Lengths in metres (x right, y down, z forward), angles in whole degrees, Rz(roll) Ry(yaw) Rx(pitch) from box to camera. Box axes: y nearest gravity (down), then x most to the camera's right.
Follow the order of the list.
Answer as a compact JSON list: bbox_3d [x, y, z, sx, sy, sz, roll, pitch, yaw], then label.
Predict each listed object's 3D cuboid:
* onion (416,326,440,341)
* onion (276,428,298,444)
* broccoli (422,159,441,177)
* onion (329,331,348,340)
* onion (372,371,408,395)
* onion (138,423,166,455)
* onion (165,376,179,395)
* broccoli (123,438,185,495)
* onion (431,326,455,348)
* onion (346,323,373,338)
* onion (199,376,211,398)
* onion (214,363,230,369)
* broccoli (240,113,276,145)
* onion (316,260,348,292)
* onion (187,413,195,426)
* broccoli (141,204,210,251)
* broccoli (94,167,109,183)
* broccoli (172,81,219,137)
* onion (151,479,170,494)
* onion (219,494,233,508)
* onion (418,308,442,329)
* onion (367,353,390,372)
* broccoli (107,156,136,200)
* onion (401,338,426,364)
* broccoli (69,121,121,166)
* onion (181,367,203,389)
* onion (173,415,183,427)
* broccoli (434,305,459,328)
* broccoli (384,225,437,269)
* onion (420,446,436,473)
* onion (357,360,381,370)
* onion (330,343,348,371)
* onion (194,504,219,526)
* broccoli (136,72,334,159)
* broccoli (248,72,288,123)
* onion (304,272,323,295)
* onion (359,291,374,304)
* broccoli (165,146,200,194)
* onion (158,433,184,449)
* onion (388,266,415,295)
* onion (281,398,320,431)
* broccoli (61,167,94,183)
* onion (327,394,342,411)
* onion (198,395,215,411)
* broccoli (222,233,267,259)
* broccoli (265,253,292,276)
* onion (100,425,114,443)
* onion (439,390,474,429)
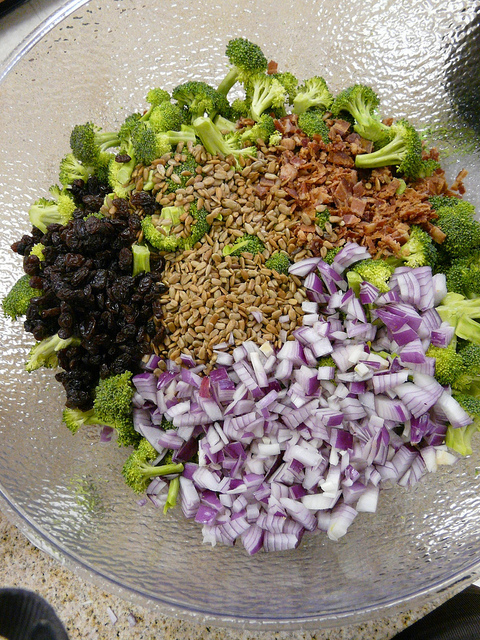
[{"bbox_3d":[0.494,0.030,1.556,0.055,0.038,0.017,-25,114,-10],"label":"onion"},{"bbox_3d":[0.124,0.313,1.594,0.047,0.017,0.034,-26,108,-10],"label":"onion"},{"bbox_3d":[0.541,-0.436,1.670,0.051,0.018,0.044,-1,84,-12],"label":"broccoli"},{"bbox_3d":[0.266,0.041,1.569,0.032,0.024,0.011,-13,51,23],"label":"onion"},{"bbox_3d":[0.386,0.165,1.533,0.084,0.038,0.044,-21,88,23],"label":"onion"},{"bbox_3d":[-0.244,0.321,1.607,0.025,0.088,0.081,-48,36,28],"label":"onion"},{"bbox_3d":[-0.186,0.175,1.596,0.041,0.018,0.042,-43,49,20],"label":"onion"},{"bbox_3d":[-0.253,0.389,1.614,0.136,0.096,0.135,-31,70,1],"label":"broccoli"},{"bbox_3d":[0.526,0.044,1.533,0.063,0.031,0.040,-37,100,-26],"label":"onion"},{"bbox_3d":[0.311,0.025,1.555,0.090,0.024,0.023,-17,80,-11],"label":"onion"},{"bbox_3d":[-0.095,0.181,1.563,0.036,0.013,0.049,1,79,40],"label":"onion"},{"bbox_3d":[-0.058,0.128,1.604,0.019,0.014,0.017,2,81,22],"label":"onion"},{"bbox_3d":[0.054,-0.521,1.618,0.093,0.051,0.074,-15,60,11],"label":"broccoli"},{"bbox_3d":[0.248,-0.120,1.577,0.127,0.036,0.036,37,85,-21],"label":"onion"},{"bbox_3d":[-0.133,0.269,1.586,0.026,0.019,0.023,2,89,8],"label":"onion"},{"bbox_3d":[-0.167,-0.243,1.592,0.174,0.073,0.105,-18,71,5],"label":"broccoli"},{"bbox_3d":[-0.397,-0.415,1.679,0.044,0.023,0.040,1,94,1],"label":"broccoli"},{"bbox_3d":[-0.120,-0.605,1.665,0.150,0.119,0.131,16,92,5],"label":"broccoli"},{"bbox_3d":[-0.221,0.457,1.620,0.016,0.032,0.043,42,112,9],"label":"onion"},{"bbox_3d":[-0.039,0.484,1.578,0.037,0.034,0.038,2,95,23],"label":"onion"},{"bbox_3d":[0.507,0.000,1.570,0.068,0.016,0.054,-5,81,-7],"label":"onion"},{"bbox_3d":[0.364,0.106,1.549,0.053,0.038,0.052,-35,54,-25],"label":"onion"},{"bbox_3d":[-0.330,-0.389,1.619,0.094,0.041,0.103,3,96,23],"label":"broccoli"},{"bbox_3d":[0.445,0.083,1.512,0.027,0.064,0.061,19,46,-25],"label":"onion"},{"bbox_3d":[-0.422,-0.515,1.694,0.138,0.181,0.088,3,109,33],"label":"broccoli"},{"bbox_3d":[-0.133,0.158,1.581,0.059,0.020,0.039,45,112,29],"label":"onion"},{"bbox_3d":[-0.170,0.271,1.577,0.030,0.025,0.023,-26,94,-24],"label":"onion"},{"bbox_3d":[0.551,-0.010,1.566,0.050,0.023,0.051,-14,91,35],"label":"broccoli"},{"bbox_3d":[0.469,-0.178,1.600,0.131,0.067,0.101,-32,49,18],"label":"broccoli"},{"bbox_3d":[0.498,0.369,1.570,0.040,0.028,0.060,-26,59,36],"label":"onion"},{"bbox_3d":[0.337,0.117,1.549,0.058,0.014,0.018,11,65,6],"label":"onion"},{"bbox_3d":[0.261,0.100,1.570,0.019,0.054,0.060,-25,47,4],"label":"onion"},{"bbox_3d":[-0.096,0.526,1.590,0.062,0.016,0.050,13,87,15],"label":"onion"},{"bbox_3d":[0.001,-0.583,1.652,0.459,0.146,0.263,12,65,6],"label":"broccoli"},{"bbox_3d":[0.072,-0.625,1.656,0.107,0.048,0.167,-12,71,7],"label":"broccoli"},{"bbox_3d":[0.196,-0.096,1.577,0.050,0.021,0.058,2,93,-6],"label":"onion"},{"bbox_3d":[0.330,-0.059,1.548,0.030,0.030,0.024,-2,52,9],"label":"onion"},{"bbox_3d":[-0.155,-0.407,1.592,0.080,0.021,0.141,12,76,14],"label":"broccoli"},{"bbox_3d":[-0.191,0.330,1.600,0.054,0.042,0.029,17,84,30],"label":"onion"},{"bbox_3d":[0.423,-0.106,1.583,0.022,0.069,0.066,10,102,-21],"label":"onion"},{"bbox_3d":[0.154,0.250,1.604,0.102,0.050,0.059,-41,99,6],"label":"onion"},{"bbox_3d":[-0.464,-0.416,1.680,0.067,0.018,0.044,11,66,6],"label":"broccoli"},{"bbox_3d":[0.249,0.220,1.565,0.037,0.014,0.036,-36,97,25],"label":"onion"},{"bbox_3d":[-0.093,0.225,1.592,0.039,0.014,0.036,-2,92,-18],"label":"onion"},{"bbox_3d":[0.012,-0.199,1.595,0.094,0.066,0.043,-14,98,-5],"label":"broccoli"},{"bbox_3d":[0.101,-0.153,1.580,0.060,0.036,0.056,17,121,17],"label":"broccoli"},{"bbox_3d":[-0.385,0.327,1.689,0.012,0.032,0.045,17,96,39],"label":"onion"},{"bbox_3d":[0.553,0.233,1.533,0.052,0.032,0.101,-33,70,0],"label":"onion"}]
